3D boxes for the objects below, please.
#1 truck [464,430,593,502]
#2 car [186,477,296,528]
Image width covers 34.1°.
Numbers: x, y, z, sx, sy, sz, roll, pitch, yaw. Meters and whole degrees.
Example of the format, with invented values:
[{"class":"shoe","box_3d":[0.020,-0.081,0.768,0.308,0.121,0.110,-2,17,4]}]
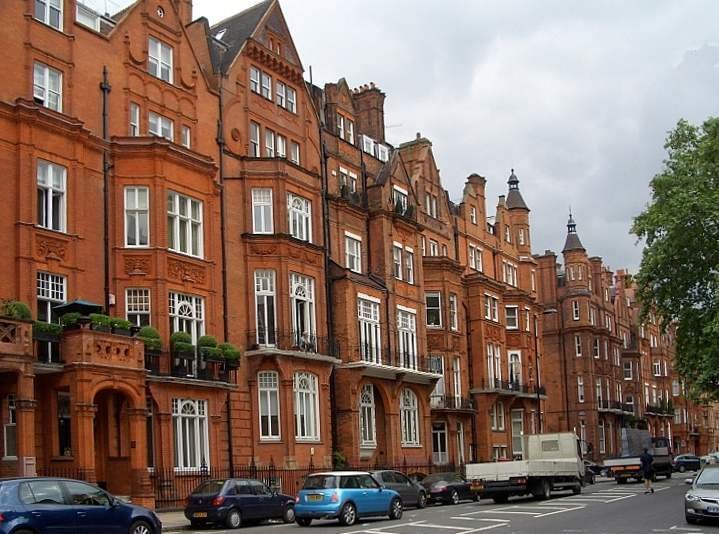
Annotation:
[{"class":"truck","box_3d":[8.989,10.435,61.183,3.319,3.308,7.393,-8,-11,37]},{"class":"car","box_3d":[-4.952,10.288,50.468,5.163,2.102,1.509,13,-25,-42]}]
